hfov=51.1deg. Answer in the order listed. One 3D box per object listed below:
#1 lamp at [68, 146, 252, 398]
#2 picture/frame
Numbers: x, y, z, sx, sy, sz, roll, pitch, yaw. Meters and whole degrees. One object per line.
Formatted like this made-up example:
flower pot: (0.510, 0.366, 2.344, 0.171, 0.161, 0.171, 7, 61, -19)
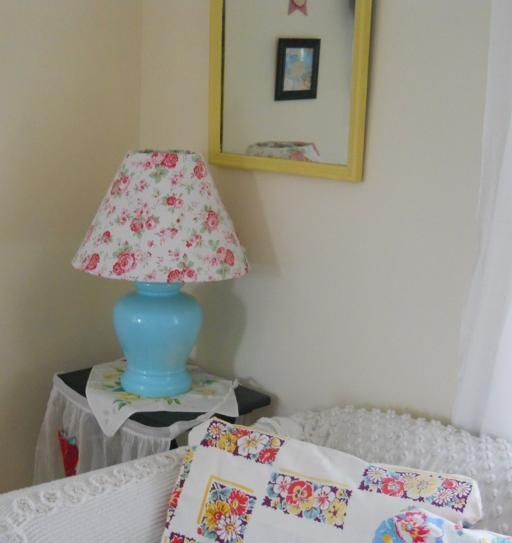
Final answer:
lamp: (-0.257, 0.013, 1.435, 0.445, 0.608, 0.452, 17, 13, 42)
picture/frame: (0.105, -0.501, 1.310, 0.159, 0.190, 0.016, 17, 17, 41)
